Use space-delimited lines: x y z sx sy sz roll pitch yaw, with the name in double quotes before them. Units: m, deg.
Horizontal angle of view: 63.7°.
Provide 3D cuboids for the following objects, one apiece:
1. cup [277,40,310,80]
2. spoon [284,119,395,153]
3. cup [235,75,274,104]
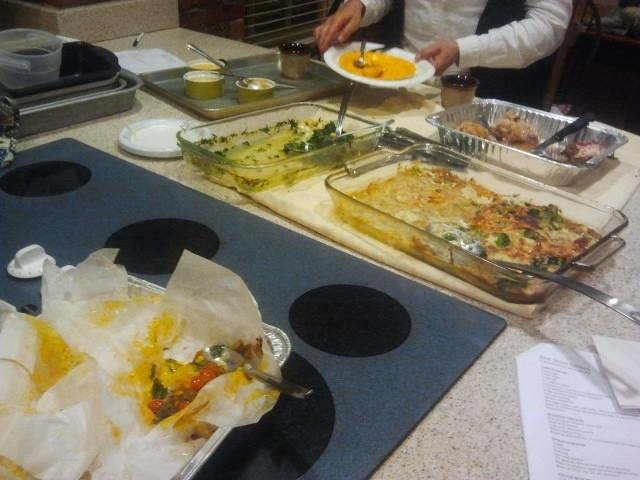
"cup" -0.077 -0.562 1.636 0.119 0.085 0.113 3 37 -2
"spoon" 0.073 -0.270 1.239 0.082 0.061 0.409 36 34 16
"cup" -0.180 -0.422 1.390 0.096 0.040 0.094 0 32 0
